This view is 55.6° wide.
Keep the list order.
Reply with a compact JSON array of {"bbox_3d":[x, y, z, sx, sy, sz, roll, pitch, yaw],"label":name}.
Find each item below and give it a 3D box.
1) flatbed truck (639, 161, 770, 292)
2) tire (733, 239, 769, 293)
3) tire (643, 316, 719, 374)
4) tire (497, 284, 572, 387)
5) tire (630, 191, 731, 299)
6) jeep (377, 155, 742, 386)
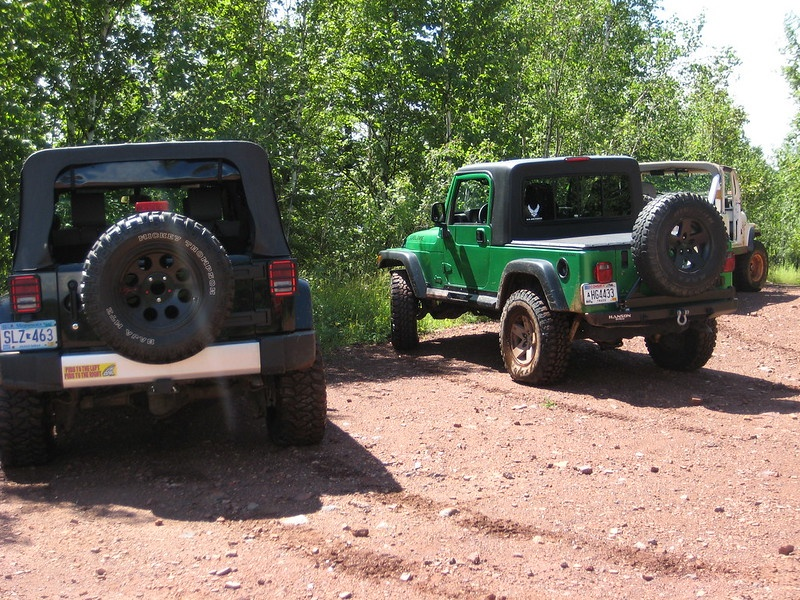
[{"bbox_3d":[5.055,-1.212,13.452,2.054,2.336,3.783,1,4,37],"label":"flatbed truck"},{"bbox_3d":[6.686,-0.651,14.486,0.310,0.910,0.887,1,12,41],"label":"tire"},{"bbox_3d":[3.027,0.475,8.191,0.222,0.660,0.640,0,2,-28],"label":"tire"},{"bbox_3d":[1.406,0.360,7.815,0.290,0.859,0.828,2,-18,-24],"label":"tire"},{"bbox_3d":[2.732,-0.502,7.421,0.999,1.036,0.321,12,8,-29],"label":"tire"},{"bbox_3d":[1.718,-0.532,8.909,2.087,2.035,4.028,-3,9,-33],"label":"jeep"}]
